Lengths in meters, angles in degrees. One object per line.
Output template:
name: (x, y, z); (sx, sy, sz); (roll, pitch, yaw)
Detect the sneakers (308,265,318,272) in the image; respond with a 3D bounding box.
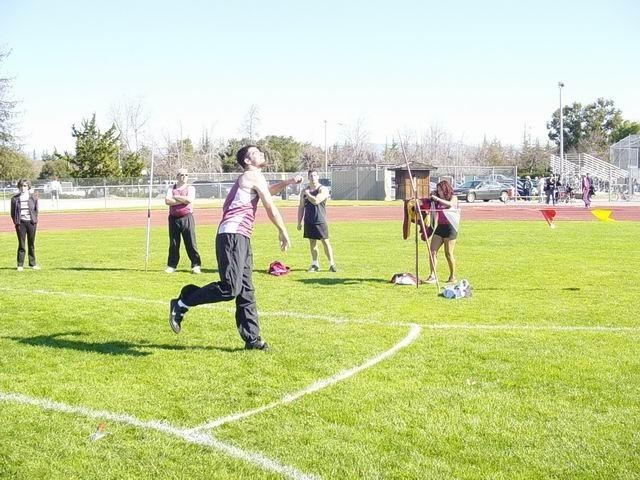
sneakers: (-0.132, 0.598, 12.756); (0.231, 0.125, 0.308); (0, 7, -2)

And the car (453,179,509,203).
car: (13.346, -3.875, 48.574); (5.198, 1.711, 1.247); (-3, 7, -22)

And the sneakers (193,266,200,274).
sneakers: (-2.625, 0.638, 12.755); (0.143, 0.149, 0.145); (-1, -8, 14)

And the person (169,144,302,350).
person: (-1.018, 0.095, 6.952); (1.295, 2.359, 0.495); (0, 6, 0)

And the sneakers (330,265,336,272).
sneakers: (0.271, 0.618, 12.625); (0.129, 0.142, 0.104); (1, 2, 19)

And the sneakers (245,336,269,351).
sneakers: (-0.728, 1.217, 7.025); (0.233, 0.151, 0.128); (1, 2, 0)
